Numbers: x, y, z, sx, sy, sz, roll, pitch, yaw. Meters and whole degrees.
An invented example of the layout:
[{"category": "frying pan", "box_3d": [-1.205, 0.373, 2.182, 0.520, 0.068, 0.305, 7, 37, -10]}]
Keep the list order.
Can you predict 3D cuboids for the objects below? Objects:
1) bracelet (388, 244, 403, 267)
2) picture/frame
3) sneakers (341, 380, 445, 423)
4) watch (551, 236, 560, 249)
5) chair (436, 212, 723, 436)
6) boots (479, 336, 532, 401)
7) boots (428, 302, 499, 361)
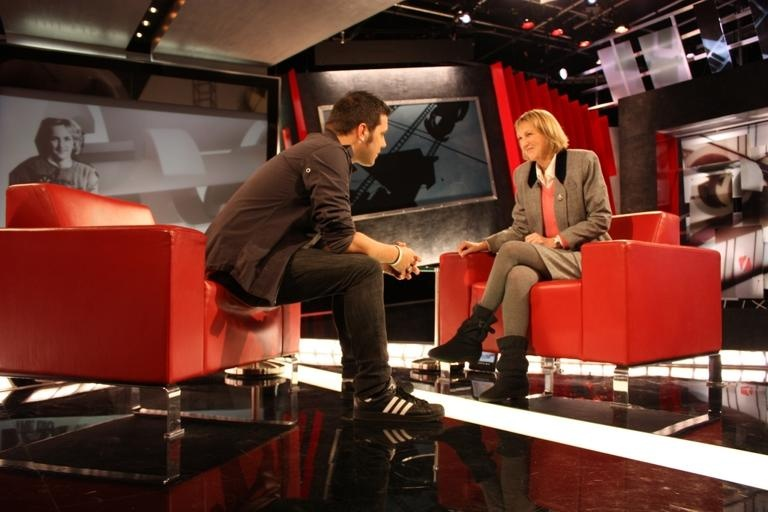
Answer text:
[{"category": "bracelet", "box_3d": [0.071, 0.000, 2.847, 0.038, 0.091, 0.083, 9, -8, -27]}, {"category": "picture/frame", "box_3d": [0.235, -0.813, 5.170, 1.692, 0.986, 0.037, -7, -2, -9]}, {"category": "sneakers", "box_3d": [0.041, 0.697, 2.820, 0.491, 0.180, 0.167, 1, -6, -4]}, {"category": "watch", "box_3d": [0.989, -0.076, 3.346, 0.047, 0.057, 0.053, -1, 14, 19]}, {"category": "chair", "box_3d": [1.089, 0.358, 3.461, 1.132, 1.285, 1.534, 3, -5, -40]}, {"category": "boots", "box_3d": [0.633, 0.570, 3.048, 0.250, 0.305, 0.117, -1, 4, -7]}, {"category": "boots", "box_3d": [0.399, 0.416, 3.179, 0.426, 0.284, 0.168, 1, 7, -25]}]
